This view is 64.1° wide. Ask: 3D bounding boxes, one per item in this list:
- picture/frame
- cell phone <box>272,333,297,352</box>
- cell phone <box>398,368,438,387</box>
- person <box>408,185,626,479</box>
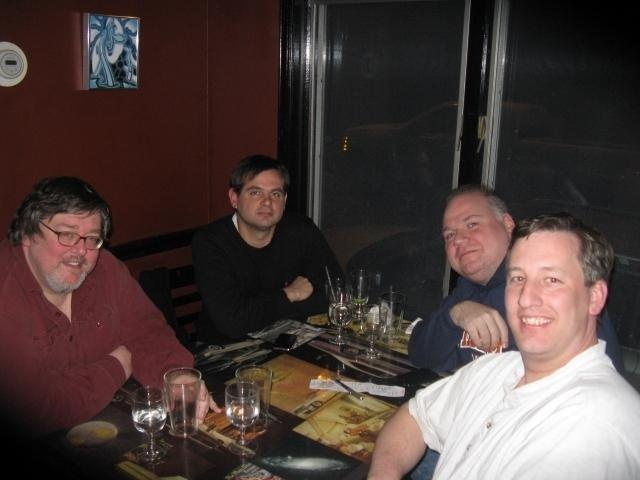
[{"bbox_3d":[-1.418,-1.282,3.434,0.094,0.581,0.524,20,21,35],"label":"picture/frame"},{"bbox_3d":[-0.159,0.465,2.316,0.125,0.016,0.156,-3,13,6],"label":"cell phone"},{"bbox_3d":[0.406,0.570,2.111,0.076,0.020,0.071,-14,12,-41],"label":"cell phone"},{"bbox_3d":[0.713,0.714,2.979,1.168,1.637,1.114,18,-33,-21],"label":"person"}]
